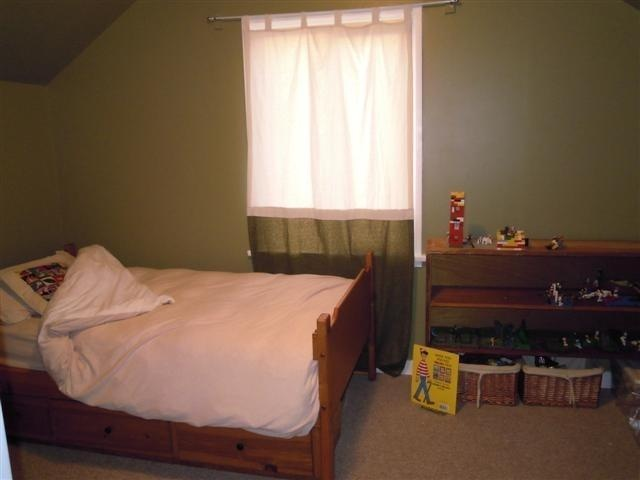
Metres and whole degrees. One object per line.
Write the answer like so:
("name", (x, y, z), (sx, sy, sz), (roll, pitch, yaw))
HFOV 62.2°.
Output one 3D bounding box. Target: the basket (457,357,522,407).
("basket", (1.308, 1.116, 4.107), (0.348, 0.247, 0.374), (1, 0, 13))
